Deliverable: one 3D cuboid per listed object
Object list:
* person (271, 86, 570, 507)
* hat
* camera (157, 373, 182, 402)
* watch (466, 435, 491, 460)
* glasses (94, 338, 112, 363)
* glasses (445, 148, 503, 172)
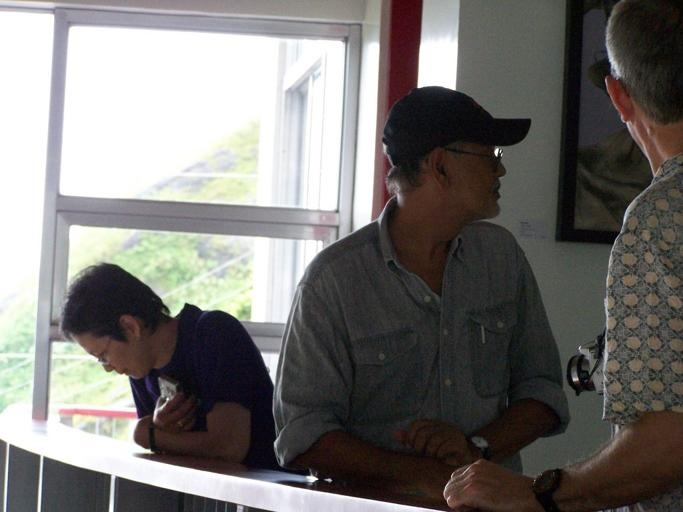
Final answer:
[{"bbox_3d":[0.237,0.222,2.215,0.903,1.332,0.741,-4,4,-11],"label":"person"},{"bbox_3d":[0.320,-0.345,2.154,0.331,0.164,0.212,-8,9,5],"label":"hat"},{"bbox_3d":[-0.568,0.428,2.571,0.083,0.091,0.022,20,35,22],"label":"camera"},{"bbox_3d":[0.373,0.510,2.093,0.023,0.062,0.048,-45,2,35],"label":"watch"},{"bbox_3d":[-0.821,0.333,2.723,0.066,0.093,0.052,9,12,34],"label":"glasses"},{"bbox_3d":[0.375,-0.281,2.186,0.103,0.028,0.076,12,-5,-5],"label":"glasses"}]
